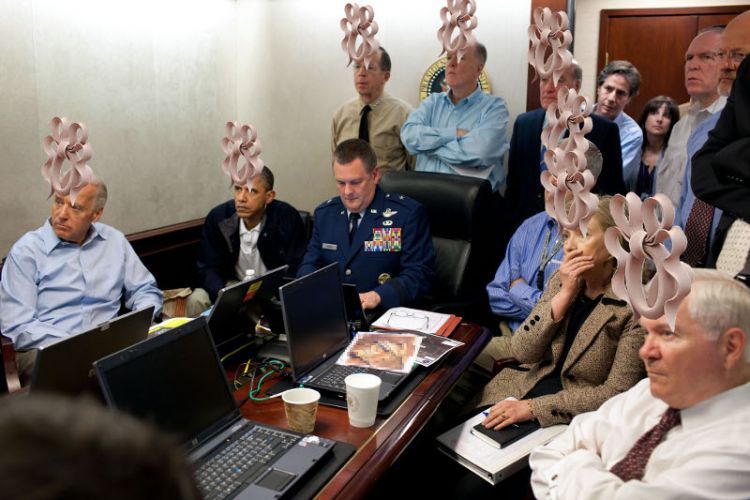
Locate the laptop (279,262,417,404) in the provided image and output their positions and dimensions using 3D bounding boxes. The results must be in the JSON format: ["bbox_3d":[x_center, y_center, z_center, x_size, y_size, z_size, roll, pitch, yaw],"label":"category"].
[{"bbox_3d":[-0.087,0.301,2.067,0.422,0.405,0.527,4,12,16],"label":"laptop"}]

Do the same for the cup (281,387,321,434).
[{"bbox_3d":[-0.240,0.511,1.704,0.123,0.107,0.133,-1,5,0],"label":"cup"}]

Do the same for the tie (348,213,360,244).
[{"bbox_3d":[-0.121,-0.129,3.058,0.086,0.153,0.035,-2,-9,42],"label":"tie"}]

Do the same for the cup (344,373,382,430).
[{"bbox_3d":[-0.045,0.488,1.729,0.139,0.156,0.150,0,3,0],"label":"cup"}]

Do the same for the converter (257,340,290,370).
[{"bbox_3d":[-0.415,0.424,2.216,0.111,0.043,0.114,12,22,16],"label":"converter"}]

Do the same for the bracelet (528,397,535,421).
[{"bbox_3d":[0.591,0.604,2.020,0.023,0.058,0.048,-2,5,10],"label":"bracelet"}]

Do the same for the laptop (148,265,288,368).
[{"bbox_3d":[-0.636,0.265,2.280,0.357,0.326,0.446,21,22,24],"label":"laptop"}]

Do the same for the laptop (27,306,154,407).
[{"bbox_3d":[-0.904,0.332,1.672,0.228,0.226,0.323,29,17,14],"label":"laptop"}]

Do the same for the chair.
[{"bbox_3d":[0.200,-0.100,3.296,0.611,1.053,0.772,6,13,25],"label":"chair"}]
